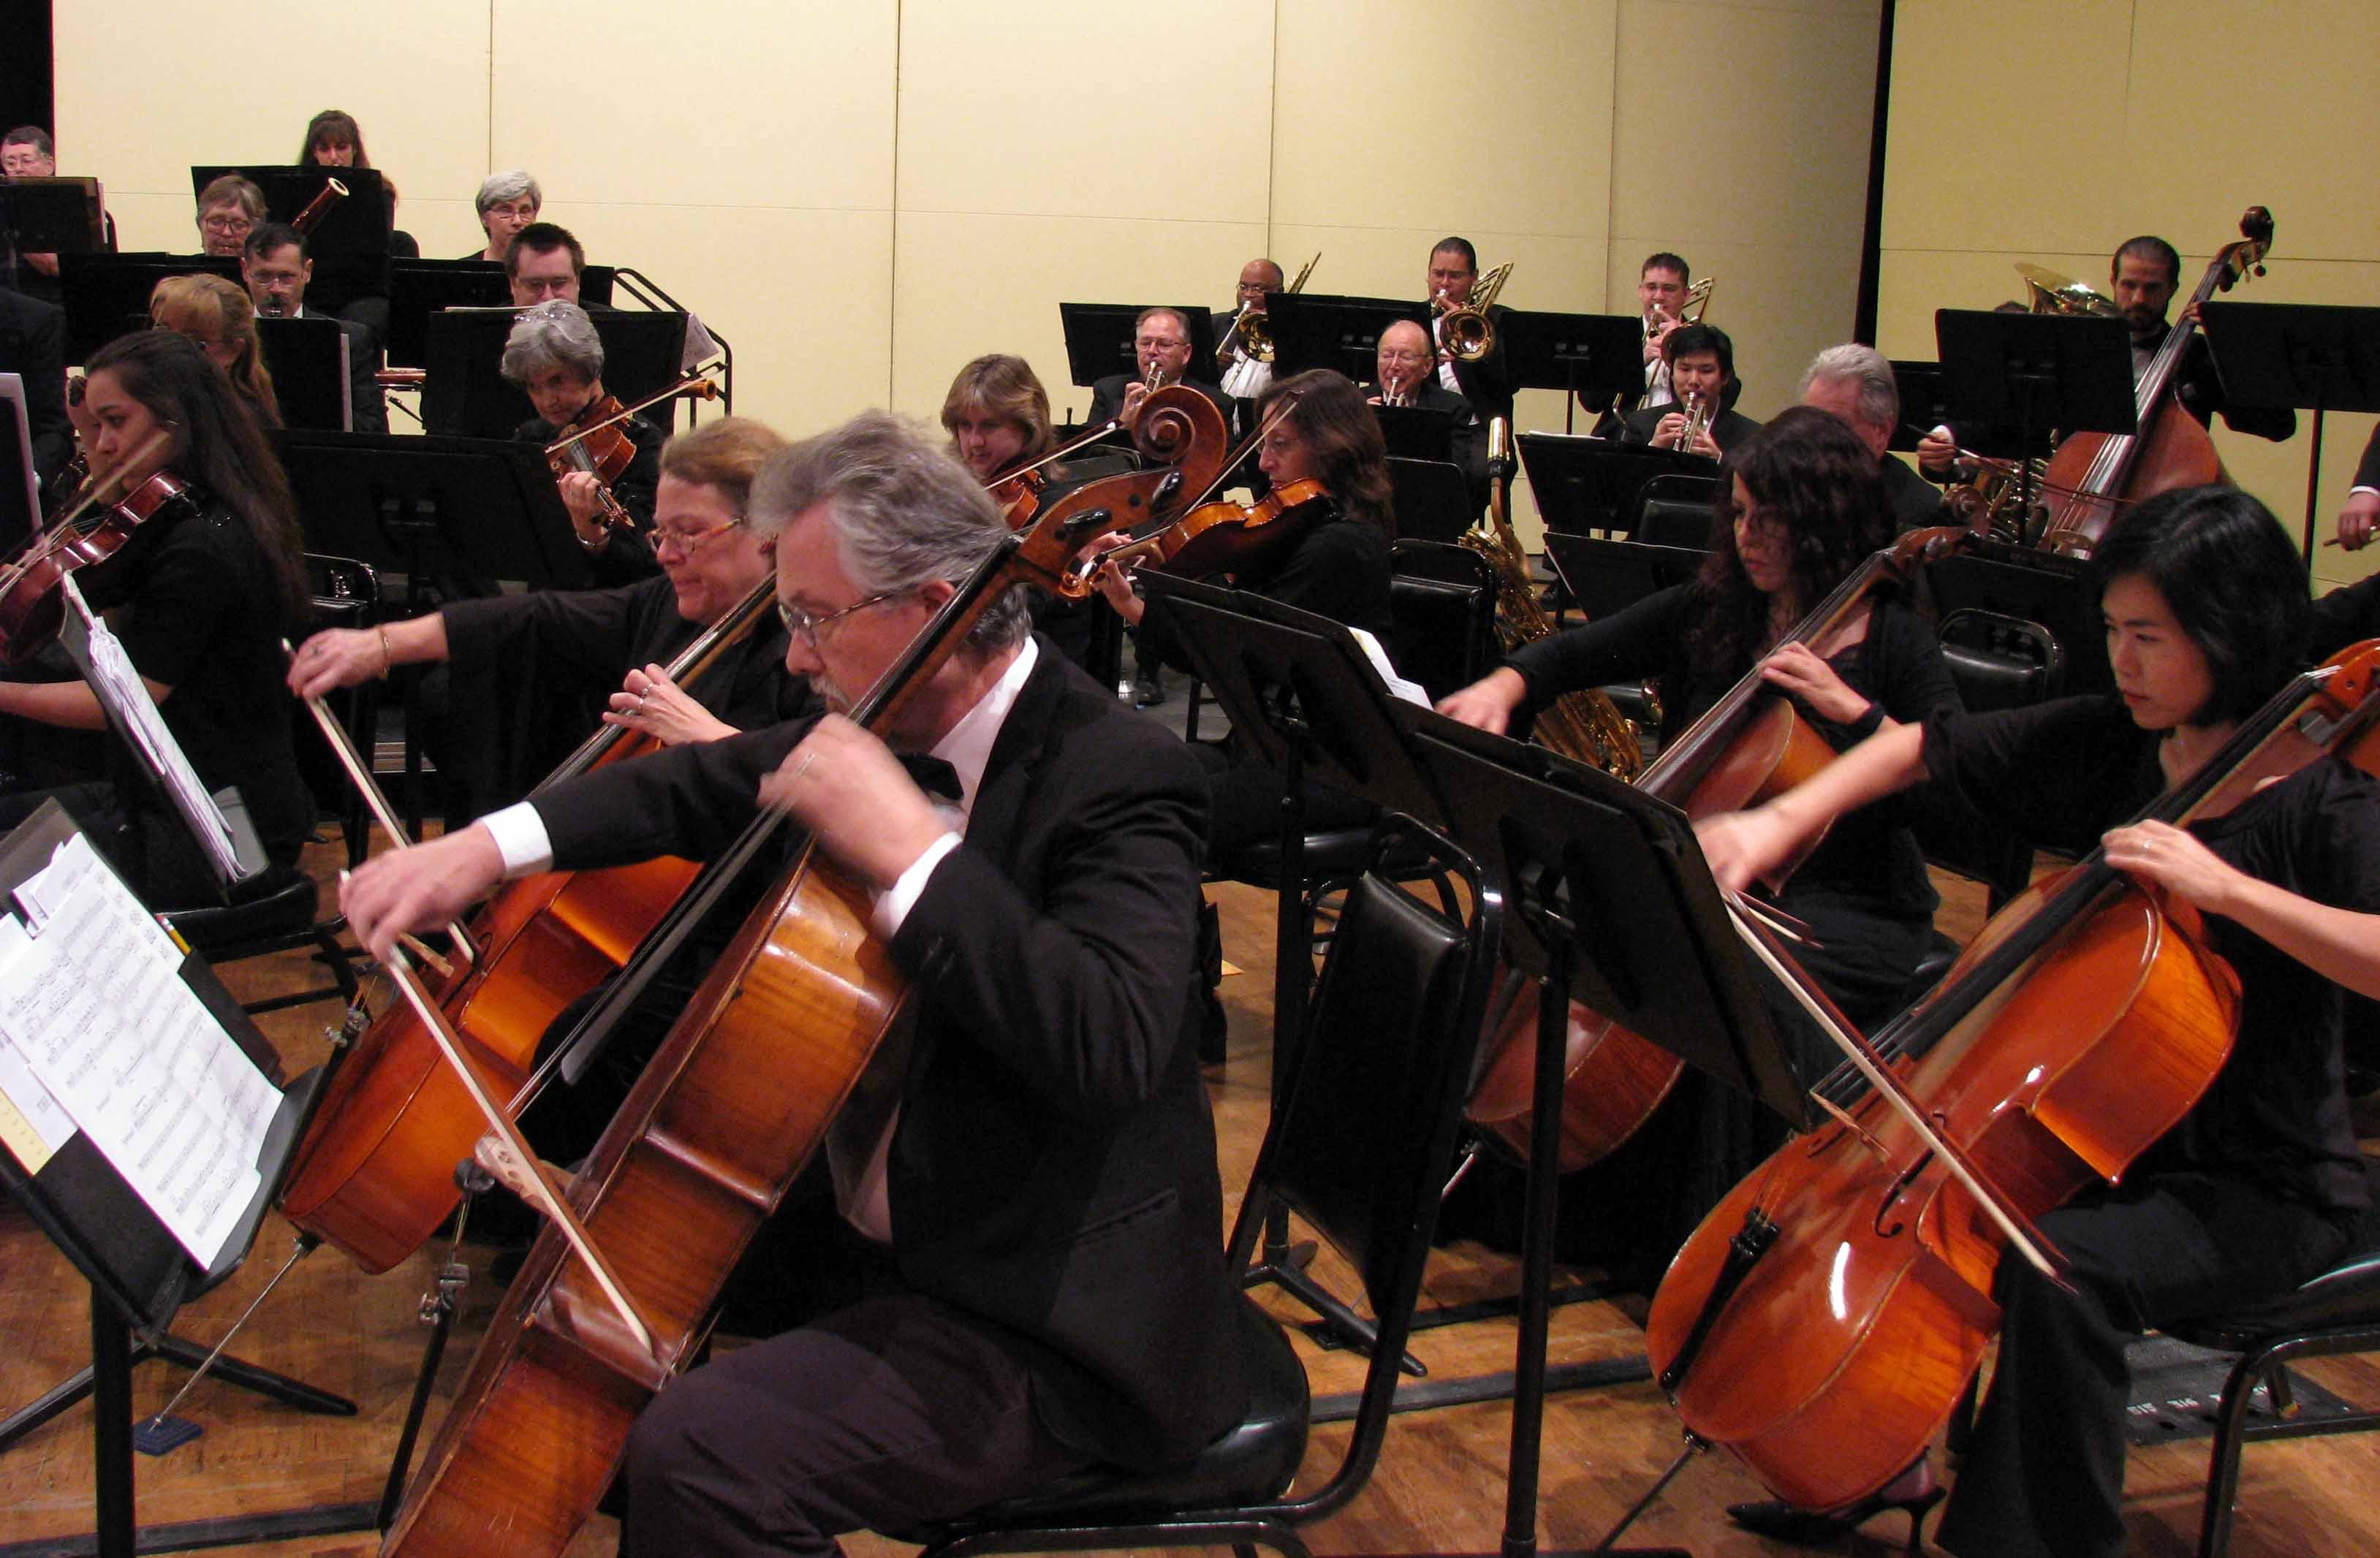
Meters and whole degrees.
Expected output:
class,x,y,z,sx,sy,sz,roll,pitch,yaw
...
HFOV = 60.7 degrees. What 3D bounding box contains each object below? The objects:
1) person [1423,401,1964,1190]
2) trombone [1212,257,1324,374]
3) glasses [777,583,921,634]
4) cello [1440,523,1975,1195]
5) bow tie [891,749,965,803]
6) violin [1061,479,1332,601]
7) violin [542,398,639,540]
class,x,y,z,sx,sy,sz,roll,pitch,yaw
person,1.154,-0.055,4.421,0.592,1.922,0.940,41,-11,-30
trombone,0.362,-2.462,10.587,0.321,0.354,1.105,10,26,14
glasses,-0.501,-0.249,2.994,0.128,0.035,0.097,-10,-1,-28
cello,1.245,0.101,4.217,0.268,1.698,0.621,38,-3,-8
bow tie,-0.377,-0.005,2.977,0.077,0.058,0.029,19,56,28
violin,-0.001,-0.523,5.439,0.867,0.355,0.147,-22,64,-16
violin,-1.859,-1.014,6.352,0.107,0.322,0.609,-16,45,1
